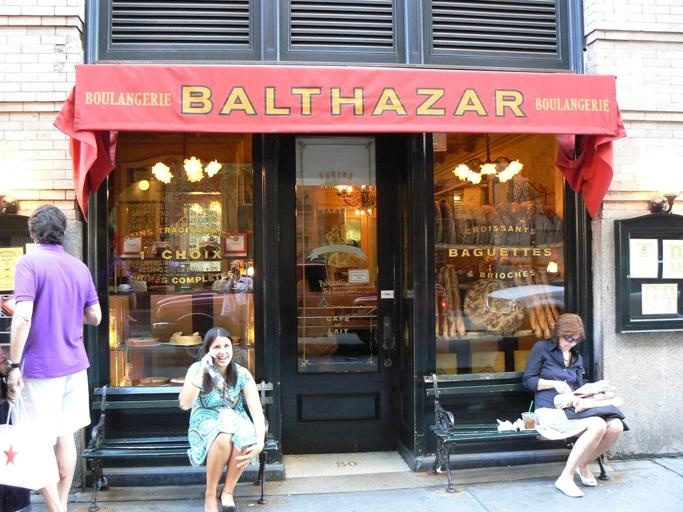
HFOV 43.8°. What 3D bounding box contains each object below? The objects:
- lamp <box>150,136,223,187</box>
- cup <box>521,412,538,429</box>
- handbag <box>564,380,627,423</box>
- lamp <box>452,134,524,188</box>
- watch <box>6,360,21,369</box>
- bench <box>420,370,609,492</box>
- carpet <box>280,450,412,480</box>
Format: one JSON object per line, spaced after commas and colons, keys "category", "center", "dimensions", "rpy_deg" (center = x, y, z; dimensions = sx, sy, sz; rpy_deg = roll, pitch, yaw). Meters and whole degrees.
{"category": "lamp", "center": [-1.549, -0.946, 8.347], "dimensions": [1.240, 0.467, 0.245], "rpy_deg": [1, -1, -5]}
{"category": "cup", "center": [1.776, 1.579, 8.085], "dimensions": [0.143, 0.136, 0.138], "rpy_deg": [2, -5, 0]}
{"category": "handbag", "center": [2.325, 1.343, 7.774], "dimensions": [0.429, 0.179, 0.425], "rpy_deg": [0, -4, -1]}
{"category": "lamp", "center": [1.487, -0.957, 8.794], "dimensions": [0.554, 0.591, 0.570], "rpy_deg": [6, -9, -37]}
{"category": "watch", "center": [-2.679, 0.887, 6.943], "dimensions": [0.078, 0.046, 0.079], "rpy_deg": [1, 2, -5]}
{"category": "bench", "center": [1.531, 1.692, 8.320], "dimensions": [1.561, 0.747, 0.571], "rpy_deg": [4, 8, -31]}
{"category": "carpet", "center": [0.046, 2.054, 8.375], "dimensions": [1.213, 0.123, 0.510], "rpy_deg": [-3, 1, -5]}
